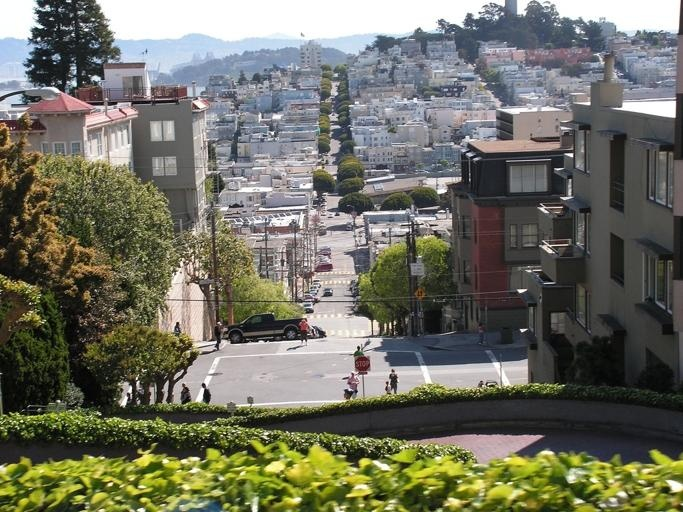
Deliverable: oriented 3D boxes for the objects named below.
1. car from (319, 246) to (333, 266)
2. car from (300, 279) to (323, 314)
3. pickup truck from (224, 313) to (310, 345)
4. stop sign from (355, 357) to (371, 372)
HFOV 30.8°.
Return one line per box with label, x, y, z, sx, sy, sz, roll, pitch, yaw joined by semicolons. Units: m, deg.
car;-2.764;0.109;224.251;2.292;2.379;9.569;-2;7;-3
car;-3.978;5.358;160.220;1.816;1.572;9.160;-1;6;2
pickup truck;-4.774;4.597;77.186;4.152;1.517;1.907;1;-1;0
stop sign;0.972;4.889;55.815;0.745;0.755;0.722;0;20;3
